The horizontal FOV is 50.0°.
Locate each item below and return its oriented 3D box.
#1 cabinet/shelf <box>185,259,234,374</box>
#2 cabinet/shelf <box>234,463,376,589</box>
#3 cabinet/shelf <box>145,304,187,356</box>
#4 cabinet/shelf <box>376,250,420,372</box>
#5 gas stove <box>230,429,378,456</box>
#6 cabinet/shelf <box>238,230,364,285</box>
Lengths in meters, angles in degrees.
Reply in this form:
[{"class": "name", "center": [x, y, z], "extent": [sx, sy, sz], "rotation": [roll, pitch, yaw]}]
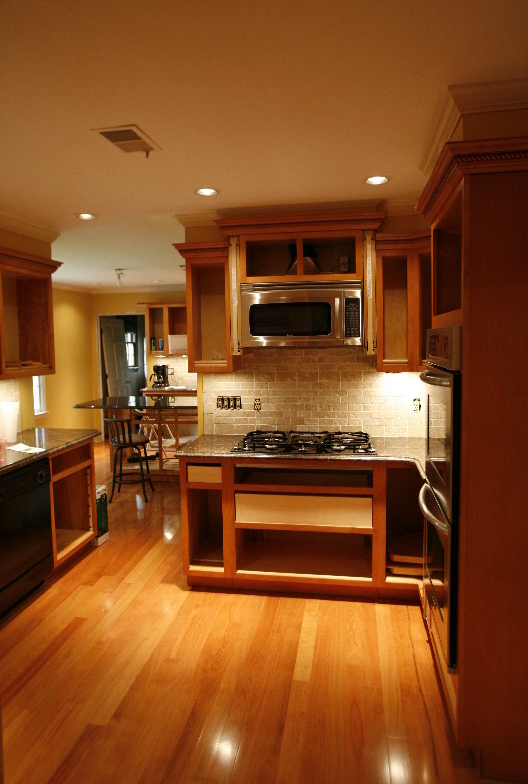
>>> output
[{"class": "cabinet/shelf", "center": [-0.351, -0.459, 3.556], "extent": [0.269, 0.691, 0.452], "rotation": [-1, 4, -8]}, {"class": "cabinet/shelf", "center": [0.248, 0.723, 3.371], "extent": [0.799, 0.605, 0.682], "rotation": [-1, 4, 4]}, {"class": "cabinet/shelf", "center": [-1.437, -0.922, 8.304], "extent": [0.676, 0.735, 0.370], "rotation": [-1, -1, 10]}, {"class": "cabinet/shelf", "center": [0.789, -0.477, 3.340], "extent": [0.246, 0.687, 0.274], "rotation": [0, 4, 16]}, {"class": "gas stove", "center": [0.233, 0.286, 3.285], "extent": [0.759, 0.051, 0.587], "rotation": [0, 5, 8]}, {"class": "cabinet/shelf", "center": [0.230, -0.793, 3.423], "extent": [0.683, 0.261, 0.375], "rotation": [0, 5, 8]}]
